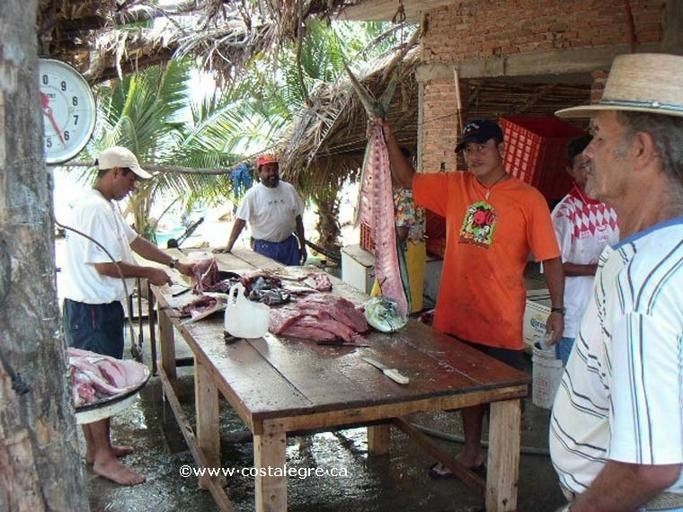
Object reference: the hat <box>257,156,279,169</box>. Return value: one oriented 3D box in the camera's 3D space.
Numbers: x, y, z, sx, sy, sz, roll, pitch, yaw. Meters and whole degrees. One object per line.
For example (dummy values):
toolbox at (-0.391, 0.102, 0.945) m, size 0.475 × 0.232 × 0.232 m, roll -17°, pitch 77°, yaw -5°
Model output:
hat at (-1.082, -1.360, 7.720) m, size 0.302 × 0.147 × 0.426 m, roll -7°, pitch 5°, yaw -12°

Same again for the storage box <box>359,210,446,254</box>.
storage box at (0.712, -0.251, 5.395) m, size 0.161 × 0.629 × 0.624 m, roll 6°, pitch 5°, yaw -36°

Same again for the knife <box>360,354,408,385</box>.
knife at (0.250, 0.626, 3.012) m, size 0.076 × 0.042 × 0.380 m, roll -1°, pitch 9°, yaw -27°

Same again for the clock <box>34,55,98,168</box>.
clock at (-1.898, -0.994, 3.706) m, size 0.359 × 0.708 × 0.280 m, roll -7°, pitch 16°, yaw -34°

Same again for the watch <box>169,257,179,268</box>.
watch at (-1.702, 0.071, 5.342) m, size 0.062 × 0.093 × 0.095 m, roll 9°, pitch -7°, yaw 14°

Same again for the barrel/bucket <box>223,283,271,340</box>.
barrel/bucket at (-0.632, 0.366, 3.556) m, size 0.374 × 0.400 × 0.249 m, roll -2°, pitch 10°, yaw -18°

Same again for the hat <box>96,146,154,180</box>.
hat at (-1.911, -0.806, 4.627) m, size 0.401 × 0.223 × 0.258 m, roll -2°, pitch 12°, yaw -33°

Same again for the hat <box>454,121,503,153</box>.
hat at (1.073, -0.918, 4.022) m, size 0.305 × 0.169 × 0.219 m, roll -15°, pitch 14°, yaw -35°

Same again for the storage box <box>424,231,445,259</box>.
storage box at (1.333, -0.147, 7.565) m, size 0.335 × 0.358 × 0.104 m, roll 9°, pitch -1°, yaw 35°
